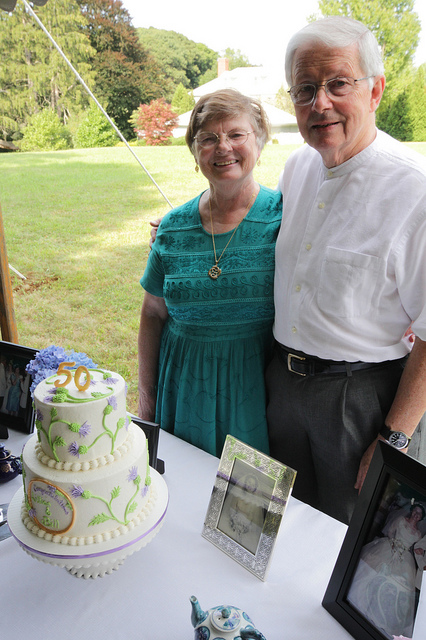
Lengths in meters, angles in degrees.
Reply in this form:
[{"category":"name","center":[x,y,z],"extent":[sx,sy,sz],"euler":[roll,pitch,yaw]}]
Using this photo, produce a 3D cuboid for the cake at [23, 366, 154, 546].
[{"category":"cake","center":[-0.308,0.305,1.202],"extent":[0.314,0.320,0.325],"euler":[-4,17,-17]}]
